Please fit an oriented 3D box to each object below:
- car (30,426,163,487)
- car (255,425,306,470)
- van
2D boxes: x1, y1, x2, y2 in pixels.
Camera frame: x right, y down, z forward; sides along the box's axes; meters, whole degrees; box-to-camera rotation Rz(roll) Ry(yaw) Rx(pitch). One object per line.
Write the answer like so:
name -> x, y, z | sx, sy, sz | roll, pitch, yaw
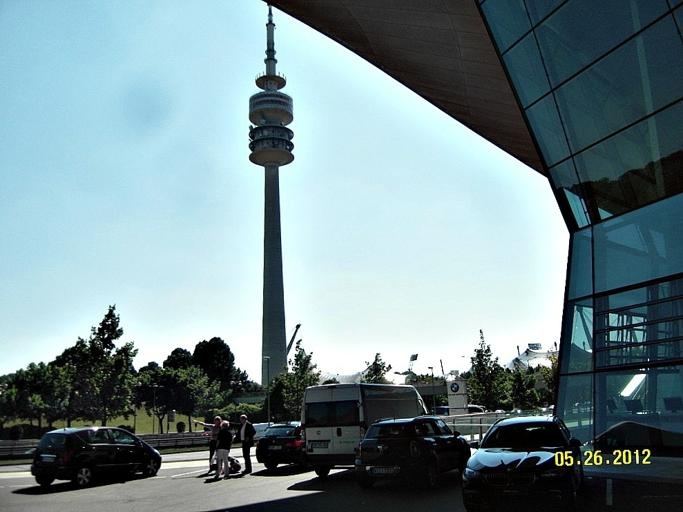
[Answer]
car -> -8.207, 6.767, 21.229 | 1.427, 1.807, 4.327 | -12, -18, 32
car -> -2.297, 7.167, 23.284 | 1.306, 1.016, 2.844 | 0, -5, 6
van -> 0.904, 5.662, 21.835 | 2.437, 2.486, 4.620 | -6, -8, 34
